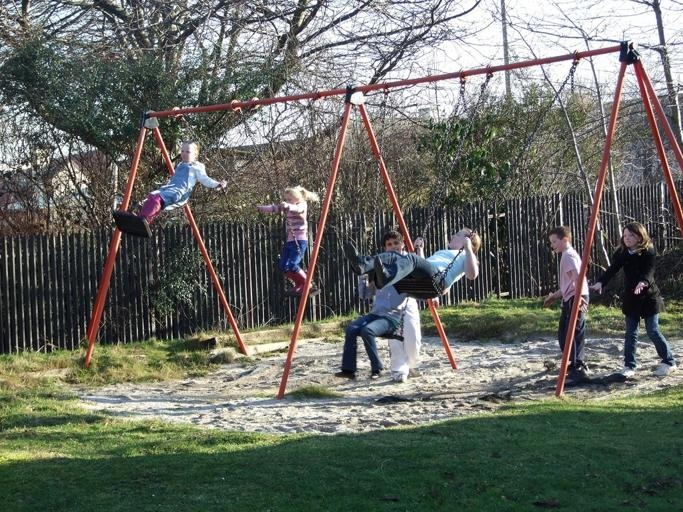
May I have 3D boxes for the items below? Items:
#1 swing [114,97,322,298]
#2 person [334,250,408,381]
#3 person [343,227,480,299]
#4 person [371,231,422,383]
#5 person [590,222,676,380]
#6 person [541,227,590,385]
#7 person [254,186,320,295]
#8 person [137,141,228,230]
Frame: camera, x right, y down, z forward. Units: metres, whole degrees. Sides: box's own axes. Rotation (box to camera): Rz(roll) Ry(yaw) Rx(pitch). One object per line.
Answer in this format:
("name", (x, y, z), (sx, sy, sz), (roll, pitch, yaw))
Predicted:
("swing", (-1.967, -0.943, 14.863), (2.293, 3.630, 2.832), (-6, 12, -42))
("person", (0.385, 0.829, 13.578), (0.878, 1.923, 0.780), (0, 0, -29))
("person", (1.035, 0.193, 12.828), (0.753, 0.954, 2.210), (5, 11, 42))
("person", (0.780, 0.711, 13.807), (0.696, 1.982, 0.627), (8, 8, 28))
("person", (4.267, 0.504, 13.442), (1.082, 2.131, 1.194), (-2, 11, -31))
("person", (3.169, 0.625, 13.523), (0.831, 1.952, 0.643), (0, 0, 1))
("person", (-0.799, -0.349, 15.520), (0.912, 1.942, 0.742), (0, 0, -42))
("person", (-2.501, -1.144, 14.277), (1.075, 1.100, 1.035), (-5, 8, -20))
